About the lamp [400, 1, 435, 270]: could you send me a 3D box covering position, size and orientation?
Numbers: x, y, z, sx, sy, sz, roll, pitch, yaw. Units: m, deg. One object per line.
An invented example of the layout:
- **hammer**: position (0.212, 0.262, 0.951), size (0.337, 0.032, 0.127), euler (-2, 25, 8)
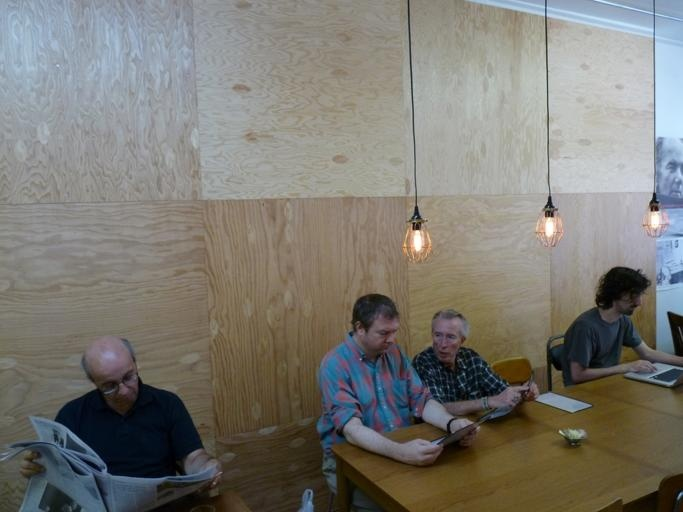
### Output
- **lamp**: position (0.463, -0.902, 3.693), size (0.222, 1.937, 0.550), euler (-5, 4, 8)

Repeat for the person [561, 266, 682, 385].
- **person**: position (1.910, 0.450, 3.907), size (0.933, 0.912, 0.678), euler (-1, 6, 42)

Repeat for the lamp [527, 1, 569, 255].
- **lamp**: position (1.585, -1.059, 4.130), size (0.225, 2.041, 0.882), euler (-4, 4, 22)

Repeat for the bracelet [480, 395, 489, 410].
- **bracelet**: position (0.806, 0.840, 2.980), size (0.039, 0.066, 0.066), euler (4, -23, 14)

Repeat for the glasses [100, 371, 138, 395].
- **glasses**: position (-1.106, 0.638, 2.605), size (0.178, 0.100, 0.077), euler (-7, 4, -24)

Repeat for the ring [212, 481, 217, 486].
- **ring**: position (-0.595, 1.065, 2.450), size (0.017, 0.024, 0.024), euler (1, -6, 3)

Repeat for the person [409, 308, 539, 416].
- **person**: position (0.815, 0.769, 3.190), size (0.772, 0.793, 0.497), euler (-1, 1, 31)
